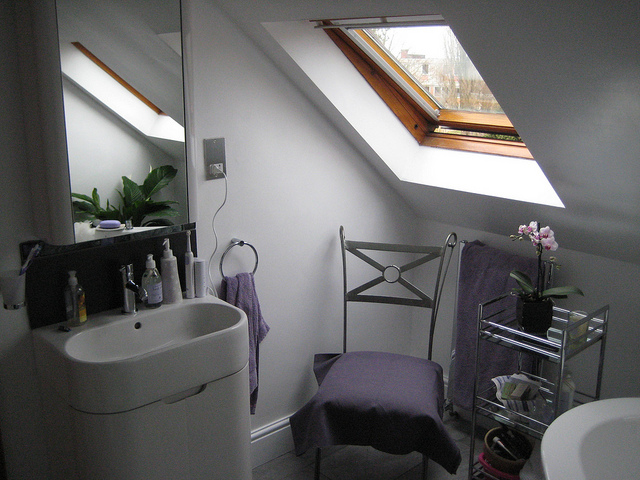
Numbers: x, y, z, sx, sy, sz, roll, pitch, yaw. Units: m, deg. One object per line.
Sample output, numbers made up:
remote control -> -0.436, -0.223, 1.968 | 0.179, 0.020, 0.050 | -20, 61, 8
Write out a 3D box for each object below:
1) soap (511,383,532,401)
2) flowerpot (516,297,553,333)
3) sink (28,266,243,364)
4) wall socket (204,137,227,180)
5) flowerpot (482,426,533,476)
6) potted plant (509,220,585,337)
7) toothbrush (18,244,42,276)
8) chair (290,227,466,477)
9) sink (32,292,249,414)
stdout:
soap -> 0.908, 0.695, 2.352 | 0.056, 0.054, 0.099 | 4, 6, 43
flowerpot -> 0.944, 0.333, 2.322 | 0.169, 0.142, 0.175 | 4, 9, 29
sink -> -0.665, 0.304, 2.056 | 0.423, 0.354, 0.766 | 14, 15, 37
wall socket -> -0.479, -0.376, 2.382 | 0.116, 0.191, 0.018 | -3, 6, -38
flowerpot -> 0.874, 1.000, 2.449 | 0.151, 0.157, 0.212 | -3, 5, -34
potted plant -> 1.043, 0.164, 2.423 | 0.328, 0.506, 0.484 | 2, 5, 26
toothbrush -> -1.076, 0.073, 1.941 | 0.058, 0.105, 0.129 | 0, 4, -2
chair -> 0.285, 0.589, 2.732 | 0.959, 1.310, 0.948 | 3, 17, 9
sink -> -0.686, 0.476, 2.109 | 0.789, 0.261, 0.560 | -8, 18, -42
